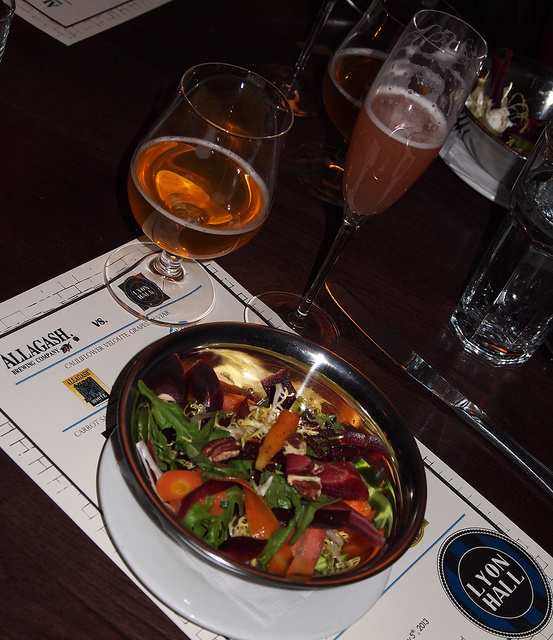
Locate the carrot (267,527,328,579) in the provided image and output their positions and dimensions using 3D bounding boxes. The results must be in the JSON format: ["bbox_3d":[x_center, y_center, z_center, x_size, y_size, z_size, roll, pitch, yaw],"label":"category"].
[{"bbox_3d":[0.017,0.175,0.393,0.043,0.012,0.039,15,61,-11],"label":"carrot"}]

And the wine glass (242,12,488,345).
[{"bbox_3d":[0.110,-0.161,0.656,0.124,0.364,0.301,30,45,9],"label":"wine glass"}]

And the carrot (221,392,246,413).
[{"bbox_3d":[-0.040,0.079,0.502,0.016,0.006,0.022,20,43,-3],"label":"carrot"}]

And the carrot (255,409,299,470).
[{"bbox_3d":[0.003,0.100,0.463,0.020,0.018,0.062,37,51,-3],"label":"carrot"}]

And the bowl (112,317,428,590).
[{"bbox_3d":[-0.003,0.110,0.460,0.263,0.074,0.251,14,34,-10],"label":"bowl"}]
